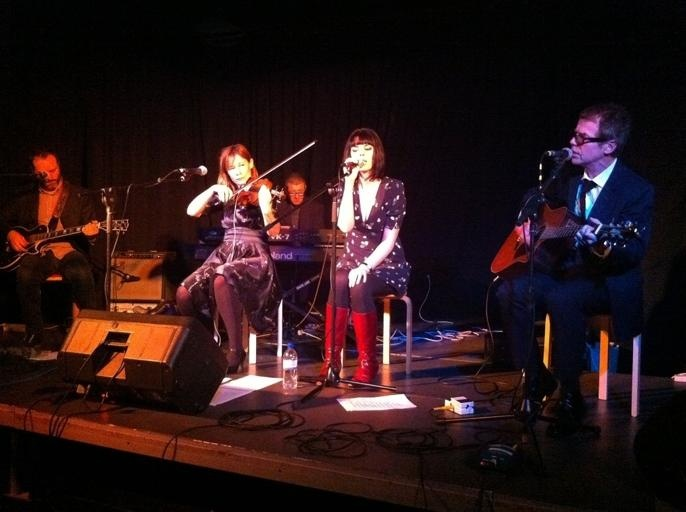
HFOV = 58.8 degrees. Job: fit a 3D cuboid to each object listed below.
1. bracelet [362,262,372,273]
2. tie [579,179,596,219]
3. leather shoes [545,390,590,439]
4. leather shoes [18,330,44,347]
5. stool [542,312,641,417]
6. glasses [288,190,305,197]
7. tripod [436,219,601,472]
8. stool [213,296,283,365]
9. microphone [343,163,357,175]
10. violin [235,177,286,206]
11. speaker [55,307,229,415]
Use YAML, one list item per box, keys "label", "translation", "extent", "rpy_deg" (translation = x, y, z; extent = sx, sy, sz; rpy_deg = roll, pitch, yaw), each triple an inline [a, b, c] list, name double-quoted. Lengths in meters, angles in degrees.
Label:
- label: "bracelet"
  translation: [0.161, 0.071, 3.942]
  extent: [0.044, 0.061, 0.016]
  rpy_deg: [-1, -25, -31]
- label: "tie"
  translation: [1.394, -0.341, 3.535]
  extent: [0.046, 0.200, 0.139]
  rpy_deg: [4, 4, -8]
- label: "leather shoes"
  translation: [1.206, 0.839, 3.276]
  extent: [0.127, 0.153, 0.356]
  rpy_deg: [-2, 7, 31]
- label: "leather shoes"
  translation: [-2.510, 0.666, 4.946]
  extent: [0.152, 0.119, 0.197]
  rpy_deg: [2, -5, -28]
- label: "stool"
  translation: [1.515, 0.606, 3.626]
  extent: [0.290, 0.342, 0.250]
  rpy_deg: [18, -11, -31]
- label: "glasses"
  translation: [-0.459, -0.621, 6.067]
  extent: [0.159, 0.052, 0.119]
  rpy_deg: [1, -5, -14]
- label: "tripod"
  translation: [0.951, 0.415, 3.320]
  extent: [0.948, 1.219, 0.656]
  rpy_deg: [4, -6, -42]
- label: "stool"
  translation: [-0.590, 0.511, 4.680]
  extent: [0.398, 0.462, 0.395]
  rpy_deg: [1, -1, 19]
- label: "microphone"
  translation: [0.042, -0.527, 3.721]
  extent: [0.080, 0.085, 0.057]
  rpy_deg: [1, -4, -13]
- label: "violin"
  translation: [-0.566, -0.428, 4.312]
  extent: [0.177, 0.098, 0.314]
  rpy_deg: [-32, -29, 33]
- label: "speaker"
  translation: [-1.076, 0.405, 3.269]
  extent: [0.810, 0.546, 0.549]
  rpy_deg: [3, 11, 20]
